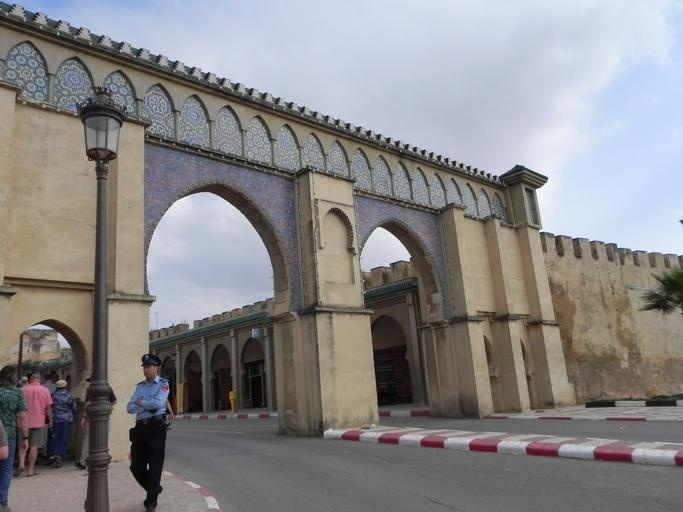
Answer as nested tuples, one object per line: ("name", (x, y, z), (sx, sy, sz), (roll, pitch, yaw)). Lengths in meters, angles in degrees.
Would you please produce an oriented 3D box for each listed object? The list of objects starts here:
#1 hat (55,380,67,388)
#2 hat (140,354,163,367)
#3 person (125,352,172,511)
("hat", (-5.638, 2.563, 10.987), (0.178, 0.100, 0.250), (0, -9, -18))
("hat", (-2.593, 1.442, 7.511), (0.216, 0.132, 0.255), (-9, -38, 13))
("person", (-2.564, 2.316, 7.276), (0.597, 1.989, 0.329), (-10, -17, 19))
